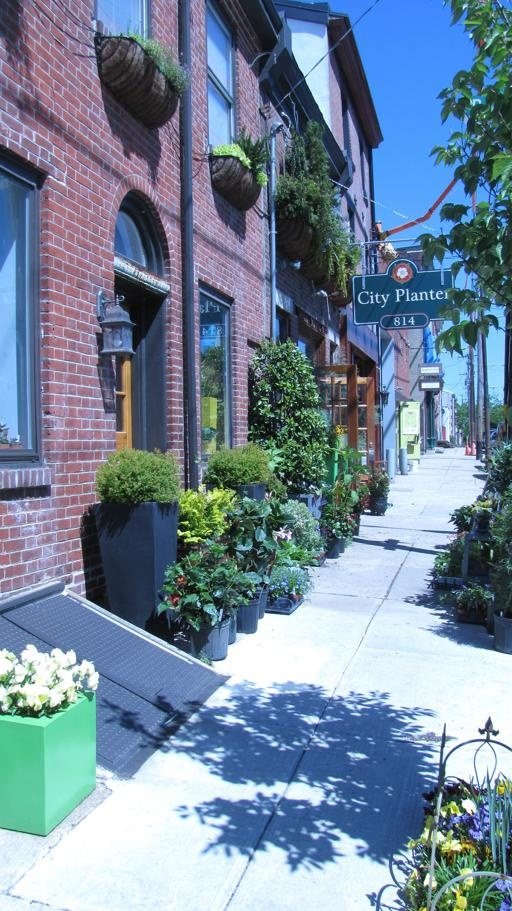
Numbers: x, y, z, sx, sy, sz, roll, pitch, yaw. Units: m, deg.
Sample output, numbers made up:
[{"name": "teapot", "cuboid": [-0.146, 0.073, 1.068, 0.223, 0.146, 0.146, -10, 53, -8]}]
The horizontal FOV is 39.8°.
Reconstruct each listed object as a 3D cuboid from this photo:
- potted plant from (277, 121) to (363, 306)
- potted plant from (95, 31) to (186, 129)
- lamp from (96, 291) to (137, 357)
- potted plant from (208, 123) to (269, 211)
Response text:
[{"name": "potted plant", "cuboid": [0.978, -3.985, 11.215, 0.739, 2.277, 3.304, 2, 1, 14]}, {"name": "potted plant", "cuboid": [-0.911, -2.858, 5.400, 0.340, 0.306, 1.245, -25, 6, 15]}, {"name": "lamp", "cuboid": [-0.987, -0.939, 4.930, 0.204, 0.484, 0.202, -3, -3, 12]}, {"name": "potted plant", "cuboid": [-0.092, -3.245, 8.162, 0.507, 0.752, 1.463, 6, 10, 14]}]
